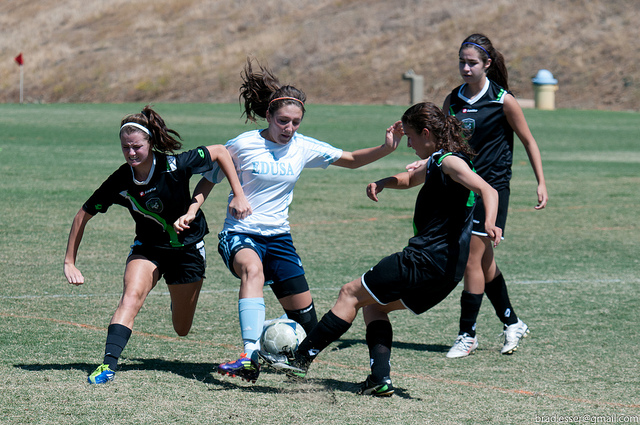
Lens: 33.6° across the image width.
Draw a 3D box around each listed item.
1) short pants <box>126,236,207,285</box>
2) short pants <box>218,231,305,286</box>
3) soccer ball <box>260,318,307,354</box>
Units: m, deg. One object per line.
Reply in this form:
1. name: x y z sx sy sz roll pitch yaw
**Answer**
1. short pants: -1.854 0.575 12.912 0.878 0.604 0.241 -3 10 -8
2. short pants: -0.723 0.544 12.859 1.004 0.672 0.251 -2 10 -5
3. soccer ball: -0.488 1.470 12.869 0.534 0.428 0.417 -15 41 0
